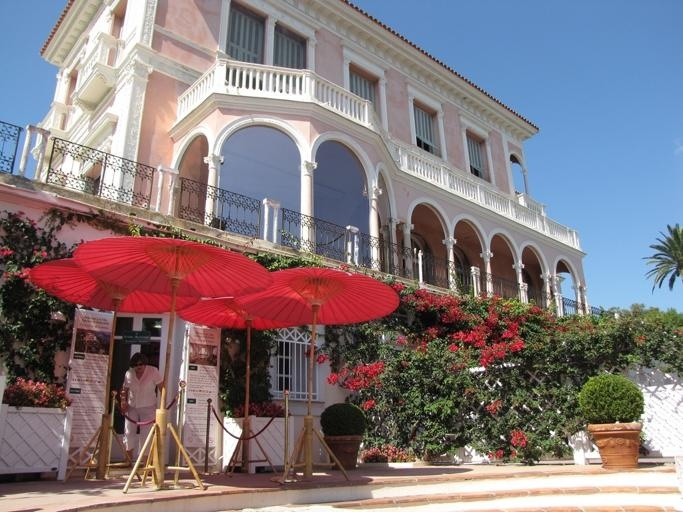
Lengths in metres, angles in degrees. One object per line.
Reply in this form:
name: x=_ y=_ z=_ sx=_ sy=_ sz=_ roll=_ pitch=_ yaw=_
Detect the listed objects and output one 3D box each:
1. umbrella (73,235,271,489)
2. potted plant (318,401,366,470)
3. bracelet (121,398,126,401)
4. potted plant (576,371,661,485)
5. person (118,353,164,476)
umbrella: x=-2.636 y=0.919 z=7.754 sx=2.703 sy=1.995 sz=1.551 roll=4 pitch=-17 yaw=-7
potted plant: x=0.043 y=3.643 z=10.490 sx=0.891 sy=1.319 sz=0.926 roll=2 pitch=-11 yaw=-22
bracelet: x=-3.978 y=2.614 z=9.295 sx=0.059 sy=0.065 sz=0.062 roll=-21 pitch=-11 yaw=7
potted plant: x=5.297 y=3.196 z=9.944 sx=1.228 sy=1.734 sz=1.100 roll=-7 pitch=-22 yaw=20
person: x=-3.647 y=2.842 z=9.321 sx=0.761 sy=2.185 sz=0.680 roll=4 pitch=7 yaw=-10
